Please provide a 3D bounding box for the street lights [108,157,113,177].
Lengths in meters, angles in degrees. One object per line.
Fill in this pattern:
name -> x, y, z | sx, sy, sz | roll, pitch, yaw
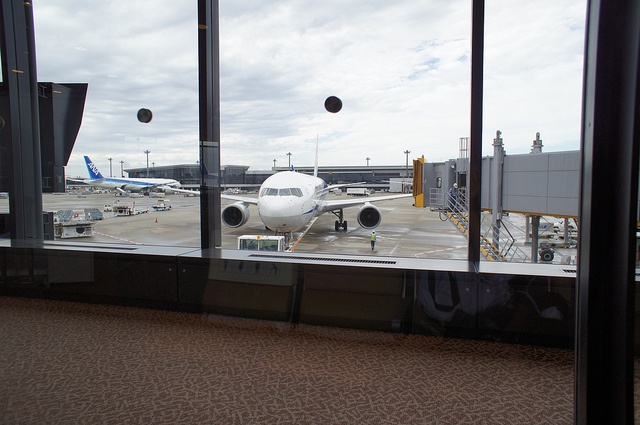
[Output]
street lights -> -3.902, -0.867, 8.441 | 0.075, 0.300, 0.422 | -1, 3, -25

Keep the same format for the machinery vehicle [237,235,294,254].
machinery vehicle -> -1.087, 0.549, 8.344 | 0.842, 0.479, 0.450 | 1, 3, 3

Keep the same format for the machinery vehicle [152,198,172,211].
machinery vehicle -> -3.747, -0.174, 10.946 | 0.587, 0.281, 0.394 | 2, 3, 20
